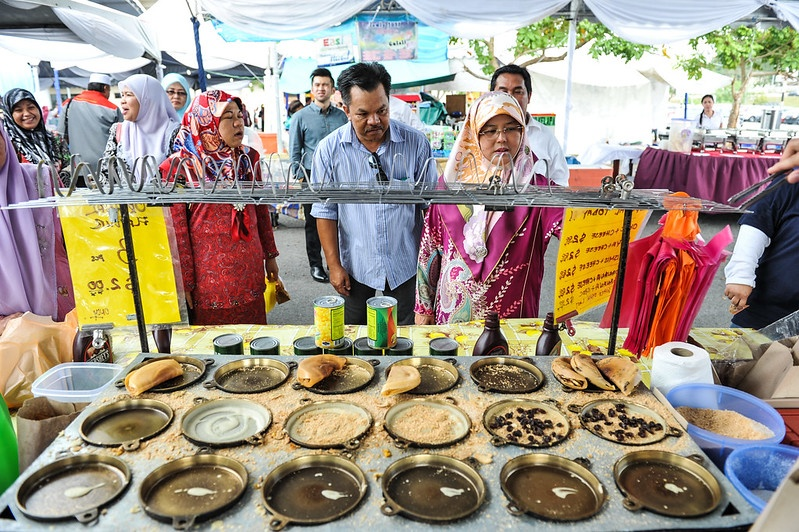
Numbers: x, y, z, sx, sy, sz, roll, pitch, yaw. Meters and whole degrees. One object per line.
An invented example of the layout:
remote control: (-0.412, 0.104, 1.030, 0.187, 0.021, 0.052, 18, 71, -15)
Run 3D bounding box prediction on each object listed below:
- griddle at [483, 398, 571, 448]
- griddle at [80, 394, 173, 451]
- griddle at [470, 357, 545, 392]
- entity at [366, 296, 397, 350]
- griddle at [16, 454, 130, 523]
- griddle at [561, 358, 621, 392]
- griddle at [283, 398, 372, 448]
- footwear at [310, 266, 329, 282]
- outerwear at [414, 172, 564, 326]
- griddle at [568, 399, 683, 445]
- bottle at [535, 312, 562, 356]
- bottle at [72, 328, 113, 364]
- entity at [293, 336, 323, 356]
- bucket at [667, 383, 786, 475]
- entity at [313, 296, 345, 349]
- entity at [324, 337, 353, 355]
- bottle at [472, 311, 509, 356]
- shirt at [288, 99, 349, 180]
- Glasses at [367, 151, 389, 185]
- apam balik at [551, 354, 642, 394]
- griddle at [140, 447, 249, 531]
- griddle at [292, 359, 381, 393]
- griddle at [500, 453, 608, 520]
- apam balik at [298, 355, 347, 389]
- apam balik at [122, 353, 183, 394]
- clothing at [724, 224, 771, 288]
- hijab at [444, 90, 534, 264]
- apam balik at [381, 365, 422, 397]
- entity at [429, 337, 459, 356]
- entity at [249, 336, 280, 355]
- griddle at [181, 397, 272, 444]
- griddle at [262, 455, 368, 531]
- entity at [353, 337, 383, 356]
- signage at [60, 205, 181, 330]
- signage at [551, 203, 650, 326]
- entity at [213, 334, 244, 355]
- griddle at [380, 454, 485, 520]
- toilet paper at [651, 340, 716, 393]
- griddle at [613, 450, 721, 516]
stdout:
griddle: (0.521, 0.654, 2.351, 0.200, 0.025, 0.224, -6, 24, -8)
griddle: (-1.136, 0.648, 2.347, 0.204, 0.025, 0.230, -8, 25, -25)
griddle: (0.487, 0.492, 2.584, 0.336, 0.084, 0.215, 3, 16, 5)
entity: (-0.090, 0.284, 2.780, 0.159, 0.220, 0.156, -22, 34, -36)
griddle: (-1.218, 0.820, 2.114, 0.403, 0.116, 0.247, 2, 16, 2)
griddle: (0.887, 0.479, 2.579, 0.281, 0.072, 0.203, 8, 29, 15)
griddle: (-0.284, 0.643, 2.348, 0.343, 0.040, 0.384, -5, 22, -20)
footwear: (-0.940, 0.094, 6.592, 0.115, 0.115, 0.296, -10, 17, -30)
outerwear: (0.503, -0.085, 3.271, 0.956, 0.773, 0.451, 0, 30, -2)
griddle: (0.952, 0.650, 2.352, 0.407, 0.084, 0.237, 8, 17, 23)
bottle: (0.735, 0.344, 2.812, 0.106, 0.204, 0.167, 10, 19, 27)
bottle: (-1.531, 0.398, 2.814, 0.122, 0.210, 0.161, -19, -9, 41)
entity: (-0.462, 0.387, 2.761, 0.096, 0.034, 0.090, -2, 24, -13)
bucket: (1.400, 0.619, 2.411, 0.377, 0.241, 0.368, 0, 26, 0)
entity: (-0.351, 0.283, 2.832, 0.158, 0.220, 0.147, -8, 18, -25)
entity: (-0.307, 0.379, 2.786, 0.100, 0.100, 0.093, 1, 31, -2)
bottle: (0.468, 0.357, 2.932, 0.206, 0.333, 0.111, -3, 16, -7)
shirt: (-0.966, -1.605, 7.027, 0.851, 0.835, 0.432, -11, 29, -26)
Glasses: (-0.142, -0.689, 3.899, 0.109, 0.180, 0.119, -11, 20, -33)
apam balik: (0.878, 0.483, 2.541, 0.239, 0.075, 0.231, -10, 11, -23)
griddle: (-0.777, 0.838, 2.134, 0.249, 0.031, 0.274, -1, 27, -8)
griddle: (-0.273, 0.496, 2.525, 0.306, 0.321, 0.038, 6, 44, -20)
griddle: (0.585, 0.827, 2.129, 0.358, 0.119, 0.243, 3, 16, 8)
apam balik: (-0.358, 0.463, 2.593, 0.116, 0.106, 0.247, 13, 20, 36)
apam balik: (-1.094, 0.473, 2.519, 0.144, 0.062, 0.173, 7, 25, 28)
clothing: (2.128, -0.045, 3.474, 0.195, 0.389, 0.343, 12, 20, 32)
hijab: (0.537, -0.481, 3.478, 0.624, 1.158, 0.349, 7, -10, -11)
apam balik: (0.012, 0.504, 2.532, 0.153, 0.087, 0.197, 4, 16, 9)
entity: (0.223, 0.384, 2.803, 0.098, 0.100, 0.094, 13, 32, 18)
entity: (-0.658, 0.378, 2.750, 0.097, 0.097, 0.091, 4, 23, 2)
griddle: (-0.719, 0.643, 2.351, 0.372, 0.089, 0.240, -2, 16, -10)
griddle: (-0.320, 0.832, 2.120, 0.383, 0.135, 0.264, -4, 16, -16)
entity: (-0.164, 0.393, 2.803, 0.099, 0.096, 0.091, -18, 37, -28)
signage: (-1.372, 0.003, 2.805, 0.717, 0.748, 0.036, -2, 19, 3)
signage: (1.004, -0.008, 2.803, 0.588, 0.608, 0.052, -23, 40, -24)
entity: (-0.852, 0.391, 2.808, 0.131, 0.065, 0.137, -5, 17, -19)
griddle: (0.128, 0.825, 2.125, 0.400, 0.121, 0.245, 0, 16, -3)
toilet paper: (1.242, 0.448, 2.507, 0.236, 0.213, 0.241, 1, 12, 19)
griddle: (1.024, 0.830, 2.158, 0.220, 0.029, 0.262, 9, 28, 28)
